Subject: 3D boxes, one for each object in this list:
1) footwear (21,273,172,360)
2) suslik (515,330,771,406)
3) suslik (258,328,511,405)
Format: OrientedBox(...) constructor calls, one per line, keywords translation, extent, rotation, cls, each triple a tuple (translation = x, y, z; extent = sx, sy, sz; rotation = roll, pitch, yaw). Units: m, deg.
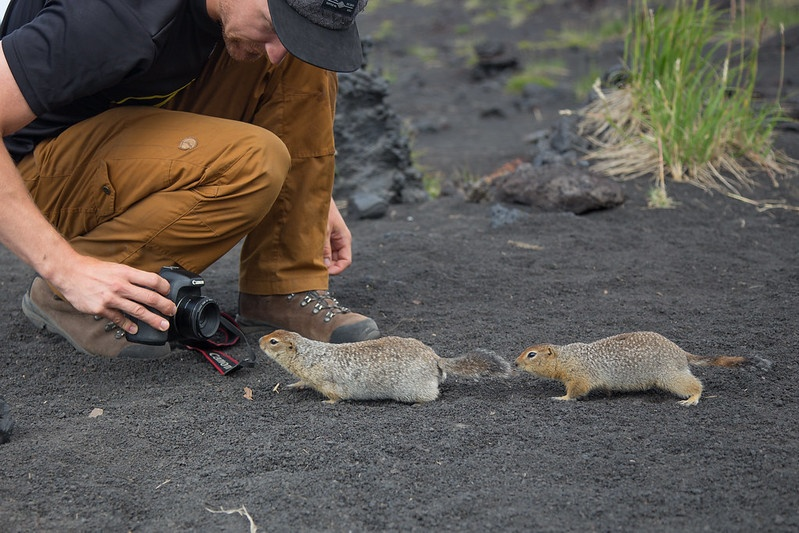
OrientedBox(translation=(-2.087, 0.312, 5.080), extent=(0.960, 0.466, 0.316), rotation=(23, 9, 7), cls="footwear")
OrientedBox(translation=(1.444, 0.563, 4.643), extent=(1.478, 0.429, 0.524), rotation=(-2, 0, 11), cls="suslik")
OrientedBox(translation=(-0.117, 0.633, 4.633), extent=(1.553, 0.341, 0.338), rotation=(-1, 33, 9), cls="suslik")
